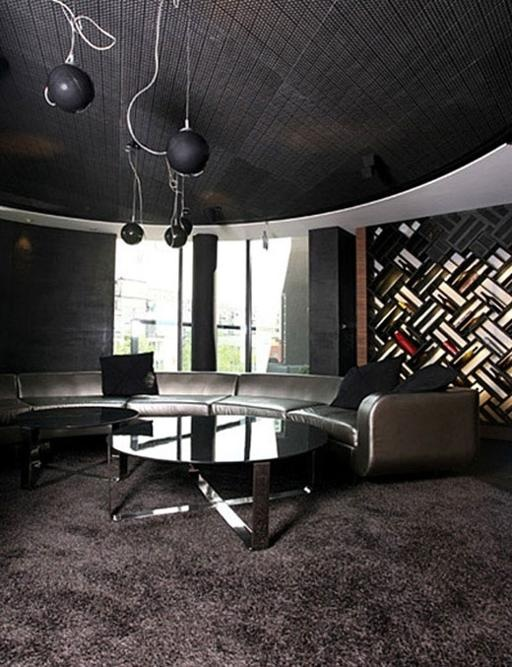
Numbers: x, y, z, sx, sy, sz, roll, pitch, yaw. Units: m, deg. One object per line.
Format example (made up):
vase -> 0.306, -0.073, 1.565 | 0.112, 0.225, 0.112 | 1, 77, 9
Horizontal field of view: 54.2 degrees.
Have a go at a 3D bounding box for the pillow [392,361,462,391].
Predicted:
pillow -> 1.137, 0.306, 3.331 | 0.364, 0.192, 0.532 | 1, 0, 9

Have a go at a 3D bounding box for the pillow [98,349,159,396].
pillow -> -1.169, 0.394, 4.618 | 0.437, 0.429, 0.117 | -3, -18, -19
